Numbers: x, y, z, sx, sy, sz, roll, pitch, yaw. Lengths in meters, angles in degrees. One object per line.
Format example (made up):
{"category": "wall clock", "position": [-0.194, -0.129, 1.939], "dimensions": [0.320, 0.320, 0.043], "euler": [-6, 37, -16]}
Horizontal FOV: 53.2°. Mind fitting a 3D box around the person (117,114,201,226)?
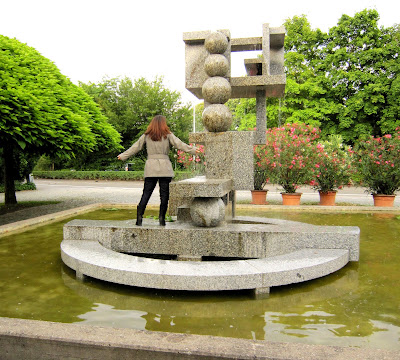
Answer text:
{"category": "person", "position": [-0.694, -0.181, 6.655], "dimensions": [1.205, 1.834, 0.615], "euler": [0, 6, 5]}
